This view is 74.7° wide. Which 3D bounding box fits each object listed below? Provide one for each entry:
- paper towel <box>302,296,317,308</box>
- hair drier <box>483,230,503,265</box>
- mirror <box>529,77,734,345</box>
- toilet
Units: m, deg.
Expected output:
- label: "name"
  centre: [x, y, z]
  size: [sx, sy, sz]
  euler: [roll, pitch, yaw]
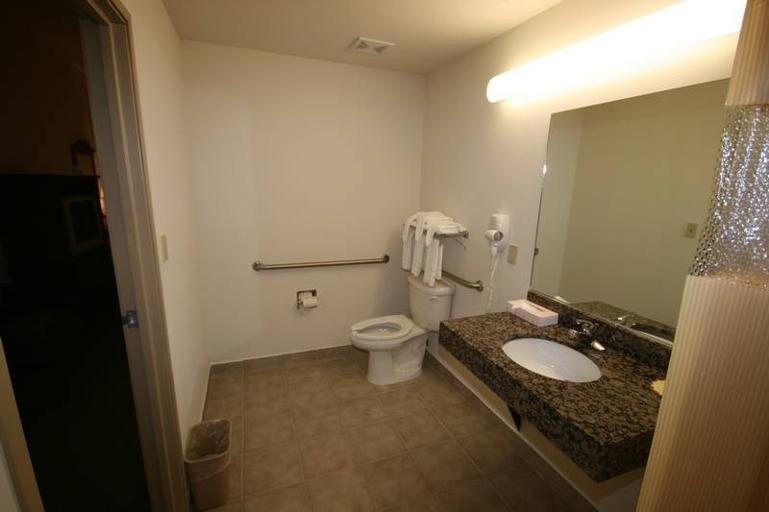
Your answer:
- label: "paper towel"
  centre: [-0.562, 0.324, 3.785]
  size: [0.075, 0.074, 0.104]
  euler: [7, 9, 44]
- label: "hair drier"
  centre: [0.668, -0.065, 3.076]
  size: [0.109, 0.212, 0.095]
  euler: [3, 13, 7]
- label: "mirror"
  centre: [1.123, -0.218, 2.276]
  size: [0.017, 1.009, 1.129]
  euler: [-4, 20, -28]
- label: "toilet"
  centre: [0.077, 0.537, 3.685]
  size: [0.710, 0.749, 0.444]
  euler: [-7, 19, -22]
